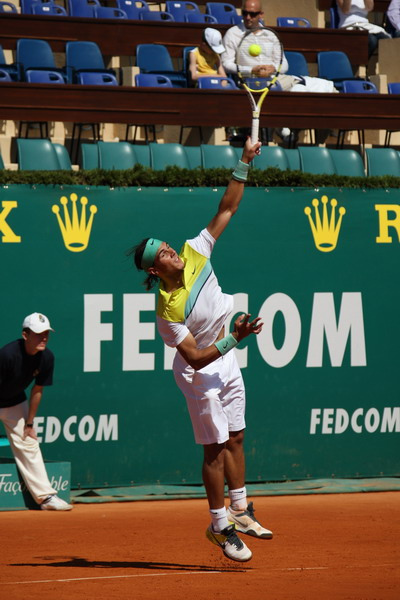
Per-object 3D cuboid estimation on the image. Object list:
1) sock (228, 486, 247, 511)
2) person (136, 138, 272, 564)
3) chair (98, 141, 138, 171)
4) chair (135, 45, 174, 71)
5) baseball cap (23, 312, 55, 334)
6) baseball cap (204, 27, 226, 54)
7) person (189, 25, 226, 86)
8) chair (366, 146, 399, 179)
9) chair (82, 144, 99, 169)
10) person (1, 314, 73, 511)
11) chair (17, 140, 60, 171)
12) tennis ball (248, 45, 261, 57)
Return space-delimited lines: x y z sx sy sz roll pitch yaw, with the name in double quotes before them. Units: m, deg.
"sock" 0.197 1.055 3.976 0.096 0.133 0.076 1 2 2
"person" 0.074 0.310 4.110 0.668 2.226 1.504 2 2 5
"chair" -0.797 -1.404 7.254 0.317 0.310 0.438 2 2 17
"chair" -0.663 -3.376 10.523 0.495 0.444 0.512 1 11 -13
"baseball cap" -1.022 0.143 4.662 0.147 0.088 0.111 5 5 36
"baseball cap" 0.157 -3.205 9.284 0.243 0.358 0.284 1 2 0
"person" 0.085 -3.015 9.480 0.464 0.749 0.747 1 2 1
"chair" 1.899 -1.462 7.917 0.410 0.320 0.289 1 2 -12
"chair" -1.058 -1.377 7.172 0.156 0.248 0.165 1 2 -10
"person" -1.074 0.729 4.839 0.431 1.280 0.460 1 3 -18
"chair" -1.496 -1.352 6.917 0.366 0.321 0.333 0 3 -29
"tennis ball" 0.311 -1.454 4.363 0.062 0.072 0.083 1 2 3
